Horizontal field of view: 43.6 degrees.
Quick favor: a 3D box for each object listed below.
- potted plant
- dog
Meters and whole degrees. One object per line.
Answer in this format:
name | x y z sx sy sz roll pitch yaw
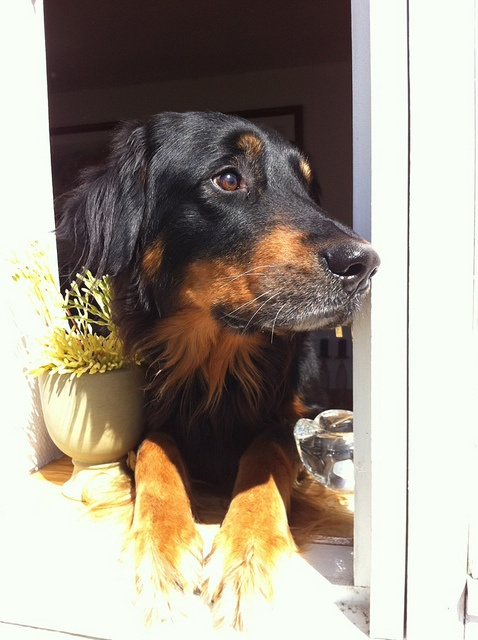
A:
potted plant | -0.416 0.125 1.566 0.377 0.616 0.305 -1 1 -4
dog | -0.046 -0.005 1.354 0.638 1.013 0.724 -3 5 -16
